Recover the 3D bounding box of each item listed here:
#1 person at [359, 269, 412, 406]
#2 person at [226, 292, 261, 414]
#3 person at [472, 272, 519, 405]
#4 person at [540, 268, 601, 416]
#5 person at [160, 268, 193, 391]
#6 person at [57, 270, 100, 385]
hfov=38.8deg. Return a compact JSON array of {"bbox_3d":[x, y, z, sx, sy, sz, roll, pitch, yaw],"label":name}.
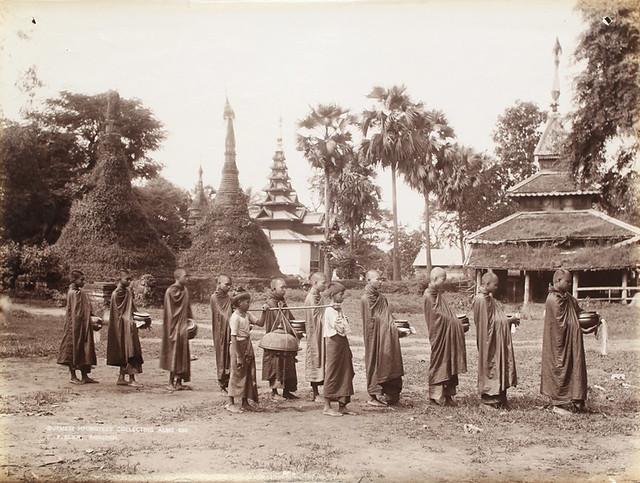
[{"bbox_3d":[1.236,1.955,18.130,0.811,2.648,0.764,-1,13,0],"label":"person"},{"bbox_3d":[-1.546,2.146,17.717,0.638,2.428,0.695,-1,13,-2],"label":"person"},{"bbox_3d":[3.470,1.957,17.977,0.772,2.589,0.893,-2,13,-5],"label":"person"},{"bbox_3d":[4.749,1.869,17.667,0.834,2.499,0.903,2,13,13],"label":"person"},{"bbox_3d":[-3.021,1.897,19.142,0.702,2.600,0.816,-2,13,-5],"label":"person"},{"bbox_3d":[-5.096,1.846,19.134,0.779,2.387,0.540,-4,13,-13],"label":"person"}]
